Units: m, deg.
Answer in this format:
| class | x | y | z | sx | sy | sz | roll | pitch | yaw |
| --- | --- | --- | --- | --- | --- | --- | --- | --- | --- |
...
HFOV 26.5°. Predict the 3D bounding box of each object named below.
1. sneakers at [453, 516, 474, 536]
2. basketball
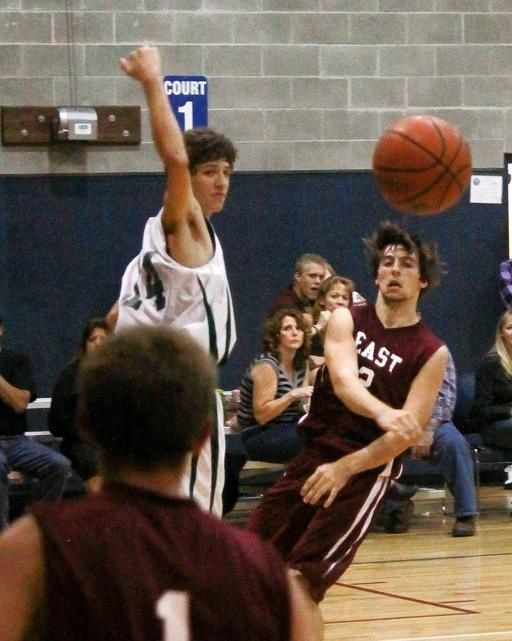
| class | x | y | z | sx | sy | sz | roll | pitch | yaw |
| --- | --- | --- | --- | --- | --- | --- | --- | --- | --- |
| sneakers | 0.988 | 0.990 | 5.218 | 0.109 | 0.086 | 0.146 | -1 | -1 | 10 |
| basketball | 0.539 | -0.508 | 3.512 | 0.314 | 0.319 | 0.200 | 0 | -2 | -11 |
